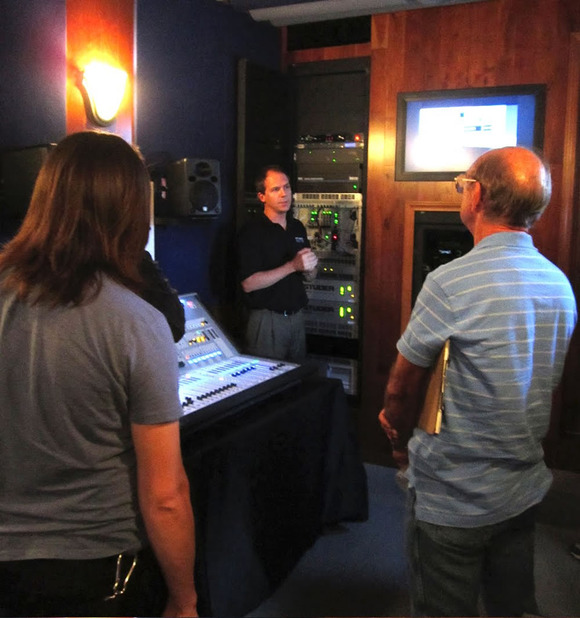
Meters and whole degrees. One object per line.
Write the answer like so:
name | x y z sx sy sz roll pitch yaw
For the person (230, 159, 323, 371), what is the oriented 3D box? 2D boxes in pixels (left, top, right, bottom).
person | -0.088 -0.261 3.621 0.446 1.151 0.597 0 8 -1

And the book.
book | 0.365 0.203 1.541 0.060 0.267 0.156 0 8 1

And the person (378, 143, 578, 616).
person | 0.488 0.344 1.550 0.499 1.075 0.392 1 8 9

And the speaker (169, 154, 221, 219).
speaker | -0.435 -0.559 2.780 0.199 0.287 0.281 -5 12 -33
